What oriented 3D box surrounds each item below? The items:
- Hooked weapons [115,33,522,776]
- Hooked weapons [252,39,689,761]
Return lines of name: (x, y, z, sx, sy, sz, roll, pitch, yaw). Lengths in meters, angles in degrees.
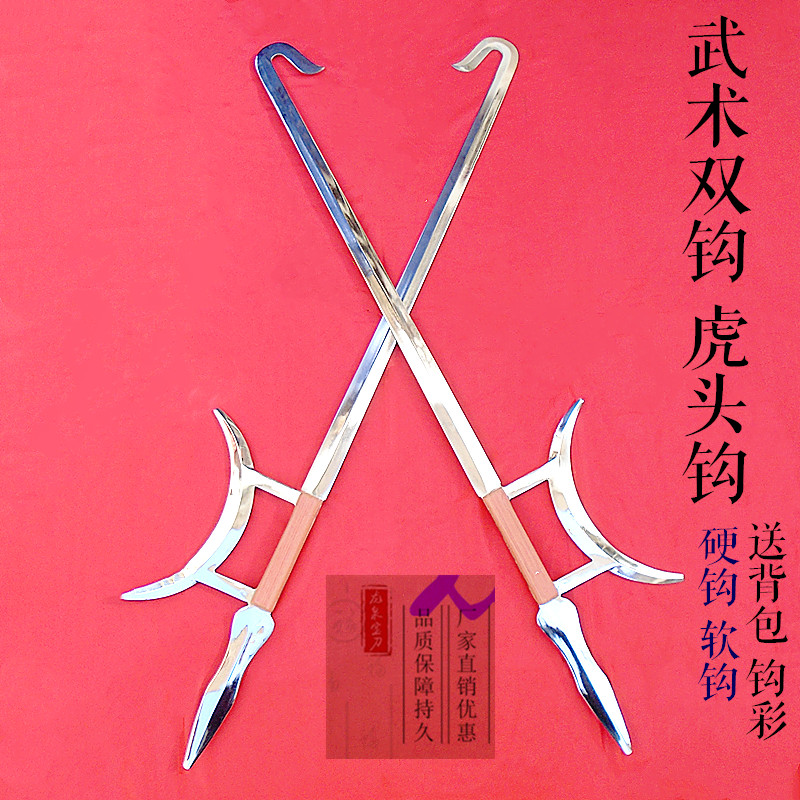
Hooked weapons: (-0.125, 0.018, 1.917, 0.438, 0.064, 1.313, 21, -96, -1)
Hooked weapons: (0.056, 0.086, 2.005, 0.653, 0.493, 1.138, 2, -52, -2)
